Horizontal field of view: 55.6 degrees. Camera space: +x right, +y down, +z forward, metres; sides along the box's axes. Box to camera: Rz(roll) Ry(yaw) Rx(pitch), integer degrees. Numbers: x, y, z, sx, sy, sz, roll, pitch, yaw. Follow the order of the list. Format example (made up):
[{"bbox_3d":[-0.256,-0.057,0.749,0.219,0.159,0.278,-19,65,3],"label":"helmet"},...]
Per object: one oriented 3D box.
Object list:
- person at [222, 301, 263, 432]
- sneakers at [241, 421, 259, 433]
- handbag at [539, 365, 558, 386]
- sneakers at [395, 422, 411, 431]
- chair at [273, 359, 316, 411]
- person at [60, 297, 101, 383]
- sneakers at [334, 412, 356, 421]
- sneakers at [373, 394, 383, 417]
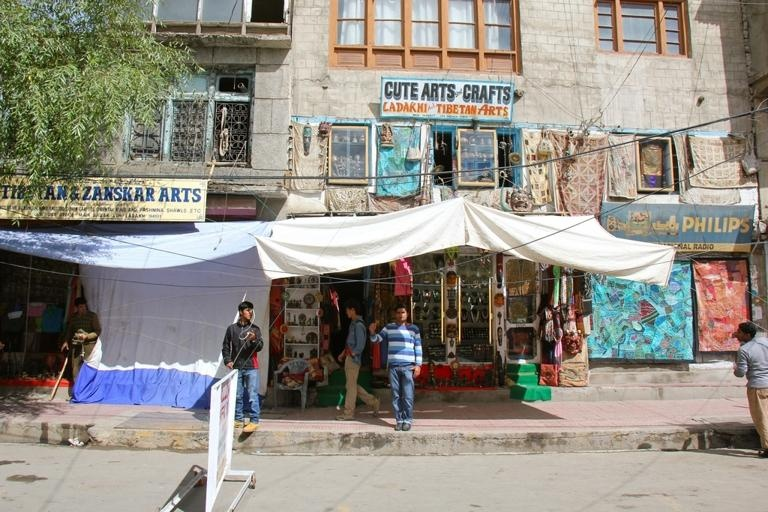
[{"bbox_3d":[-2.624,2.008,13.489,0.697,2.276,0.387,1,-1,-10],"label":"person"},{"bbox_3d":[-2.451,3.136,13.336,0.286,0.188,0.237,1,-1,-5],"label":"sneakers"},{"bbox_3d":[3.762,2.702,16.554,0.453,0.437,0.134,3,-4,36],"label":"handbag"},{"bbox_3d":[0.371,3.156,13.615,0.288,0.134,0.323,0,-1,5],"label":"sneakers"},{"bbox_3d":[-1.875,2.628,15.057,0.830,0.887,0.754,-3,5,-30],"label":"chair"},{"bbox_3d":[-6.386,1.758,15.314,0.905,1.760,0.487,0,-1,43],"label":"person"},{"bbox_3d":[-0.746,3.145,14.303,0.371,0.149,0.130,4,-11,2],"label":"sneakers"},{"bbox_3d":[-0.154,3.049,14.716,0.182,0.396,0.139,-1,12,20],"label":"sneakers"}]
